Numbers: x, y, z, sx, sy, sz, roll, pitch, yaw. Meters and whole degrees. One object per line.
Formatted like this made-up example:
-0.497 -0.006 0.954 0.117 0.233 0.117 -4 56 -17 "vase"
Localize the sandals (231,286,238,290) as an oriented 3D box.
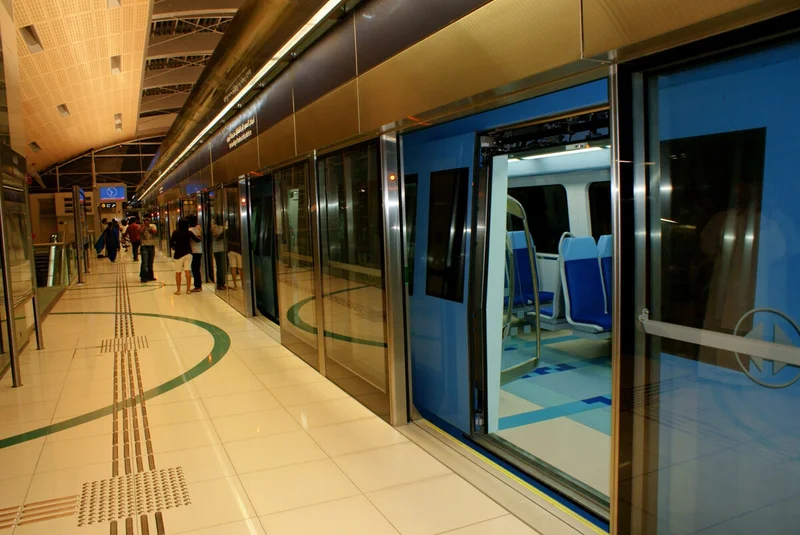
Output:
-3.135 0.363 9.762 0.140 0.099 0.048 -4 22 42 "sandals"
